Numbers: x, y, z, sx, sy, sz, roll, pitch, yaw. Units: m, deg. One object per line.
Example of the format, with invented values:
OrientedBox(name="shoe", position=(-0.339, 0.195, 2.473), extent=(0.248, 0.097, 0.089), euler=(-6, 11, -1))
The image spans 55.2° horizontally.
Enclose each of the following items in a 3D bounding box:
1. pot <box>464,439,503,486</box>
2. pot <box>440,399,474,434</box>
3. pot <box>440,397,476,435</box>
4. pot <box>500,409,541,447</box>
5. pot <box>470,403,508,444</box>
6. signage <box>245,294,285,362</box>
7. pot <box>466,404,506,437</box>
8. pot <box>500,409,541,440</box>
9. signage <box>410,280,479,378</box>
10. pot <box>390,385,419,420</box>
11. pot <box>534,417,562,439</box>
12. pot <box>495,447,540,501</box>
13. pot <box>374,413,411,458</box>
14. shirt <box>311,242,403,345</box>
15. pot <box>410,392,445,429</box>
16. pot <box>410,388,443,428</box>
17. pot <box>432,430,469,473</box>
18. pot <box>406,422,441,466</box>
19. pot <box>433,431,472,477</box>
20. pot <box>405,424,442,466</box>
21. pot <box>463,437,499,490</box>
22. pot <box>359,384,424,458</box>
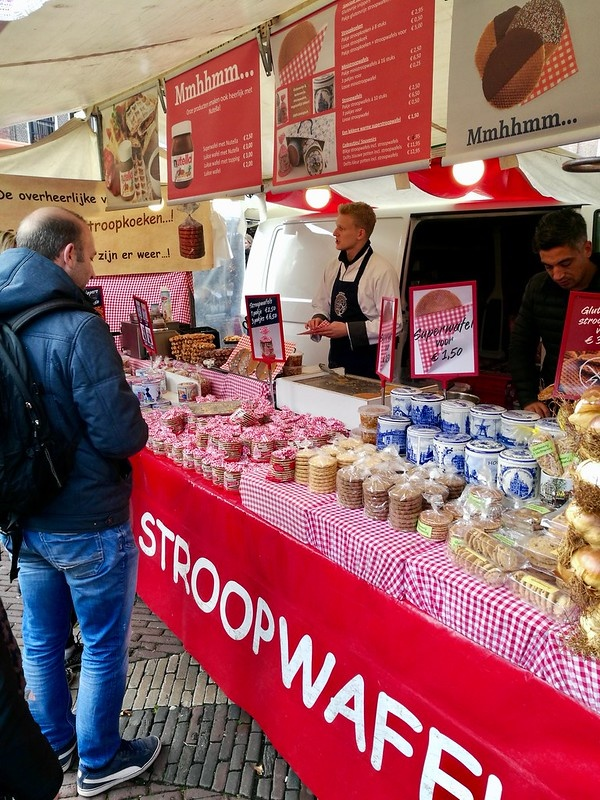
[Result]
OrientedBox(name="pot", position=(0.570, 0.198, 1.861), extent=(0.127, 0.133, 0.127), euler=(1, 4, 0))
OrientedBox(name="pot", position=(0.538, 0.054, 2.002), extent=(0.114, 0.116, 0.112), euler=(0, 7, 0))
OrientedBox(name="pot", position=(0.537, 0.054, 2.002), extent=(0.115, 0.117, 0.114), euler=(0, 6, 0))
OrientedBox(name="pot", position=(0.700, 0.088, 1.860), extent=(0.115, 0.104, 0.113), euler=(-1, 10, 0))
OrientedBox(name="pot", position=(0.626, 0.076, 1.961), extent=(0.118, 0.119, 0.116), euler=(0, 8, 0))
OrientedBox(name="signage", position=(-0.191, -0.374, 3.144), extent=(0.194, 0.400, 0.315), euler=(-2, 12, -4))
OrientedBox(name="pot", position=(0.633, 0.074, 1.975), extent=(0.110, 0.107, 0.108), euler=(-1, 9, 0))
OrientedBox(name="pot", position=(0.718, 0.072, 1.891), extent=(0.100, 0.103, 0.098), euler=(-1, 11, 0))
OrientedBox(name="signage", position=(0.538, -0.260, 2.156), extent=(0.346, 0.459, 0.022), euler=(8, 22, 35))
OrientedBox(name="pot", position=(0.392, 0.007, 2.255), extent=(0.118, 0.119, 0.115), euler=(0, 9, 0))
OrientedBox(name="pot", position=(0.748, 0.079, 1.729), extent=(0.058, 0.059, 0.057), euler=(-12, 14, 3))
OrientedBox(name="pot", position=(0.670, 0.237, 1.758), extent=(0.150, 0.136, 0.147), euler=(1, 7, 0))
OrientedBox(name="pot", position=(0.344, 0.129, 2.149), extent=(0.141, 0.143, 0.140), euler=(0, 5, 0))
OrientedBox(name="shirt", position=(0.410, -0.741, 4.290), extent=(0.500, 0.738, 0.862), euler=(-14, 24, -36))
OrientedBox(name="pot", position=(0.463, 0.040, 2.125), extent=(0.120, 0.117, 0.118), euler=(0, 7, 0))
OrientedBox(name="pot", position=(0.449, 0.033, 2.131), extent=(0.121, 0.122, 0.118), euler=(0, 7, 0))
OrientedBox(name="pot", position=(0.503, 0.171, 1.964), extent=(0.122, 0.129, 0.120), euler=(-1, 7, 0))
OrientedBox(name="pot", position=(0.421, 0.153, 2.031), extent=(0.130, 0.135, 0.127), euler=(0, 5, 0))
OrientedBox(name="pot", position=(0.498, 0.176, 1.917), extent=(0.129, 0.136, 0.126), euler=(-1, 7, 0))
OrientedBox(name="pot", position=(0.422, 0.153, 2.030), extent=(0.130, 0.134, 0.127), euler=(0, 5, 0))
OrientedBox(name="pot", position=(0.568, 0.198, 1.795), extent=(0.125, 0.135, 0.124), euler=(1, 6, 0))
OrientedBox(name="pot", position=(0.366, 0.073, 2.304), extent=(0.250, 0.257, 0.254), euler=(0, 6, 0))
